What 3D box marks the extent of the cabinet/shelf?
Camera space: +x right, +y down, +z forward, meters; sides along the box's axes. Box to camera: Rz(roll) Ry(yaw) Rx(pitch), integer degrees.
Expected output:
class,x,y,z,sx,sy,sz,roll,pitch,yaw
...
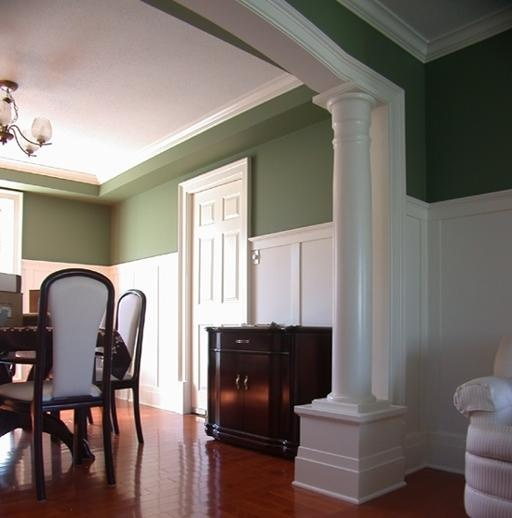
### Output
class,x,y,z,sx,sy,sz,roll,pitch,yaw
cabinet/shelf,0.107,0.948,3.150,0.301,0.736,0.798,7,-10,-40

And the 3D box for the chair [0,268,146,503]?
class,x,y,z,sx,sy,sz,roll,pitch,yaw
chair,-1.096,0.663,2.529,0.625,1.180,0.764,3,-9,-18
